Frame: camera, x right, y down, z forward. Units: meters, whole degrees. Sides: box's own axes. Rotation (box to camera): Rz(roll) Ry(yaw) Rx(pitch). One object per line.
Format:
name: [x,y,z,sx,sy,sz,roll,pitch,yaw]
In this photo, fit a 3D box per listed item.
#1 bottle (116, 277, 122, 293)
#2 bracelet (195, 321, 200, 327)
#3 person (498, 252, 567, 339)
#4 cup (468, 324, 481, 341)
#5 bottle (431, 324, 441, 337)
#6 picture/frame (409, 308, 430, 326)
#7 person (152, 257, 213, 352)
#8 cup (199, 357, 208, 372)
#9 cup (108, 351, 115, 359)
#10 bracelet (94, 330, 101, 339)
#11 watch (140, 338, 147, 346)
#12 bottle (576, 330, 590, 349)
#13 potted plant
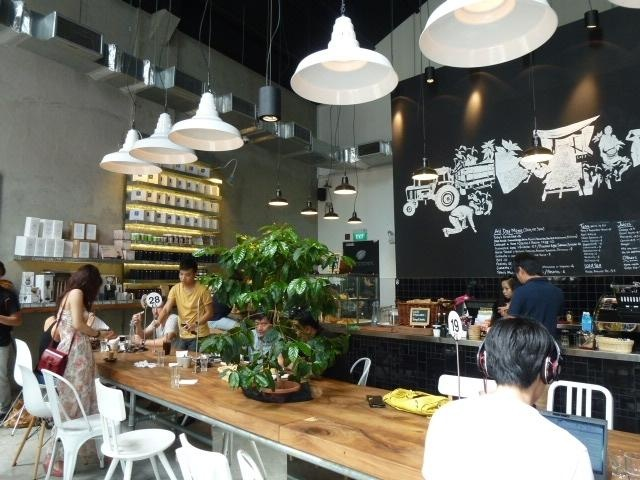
bottle: [-2.976,0.649,6.586,0.068,0.225,0.276,-9,8,-17]
bracelet: [-1.276,0.858,4.624,0.046,0.064,0.031,-5,-6,22]
person: [1.939,0.578,4.078,0.530,0.916,0.478,-9,12,-12]
cup: [1.669,0.997,4.798,0.133,0.128,0.137,-1,-3,0]
bottle: [1.293,0.998,4.906,0.105,0.120,0.104,-2,-11,18]
picture/frame: [1.187,0.894,5.228,0.196,0.206,0.102,-2,-10,26]
person: [-1.442,0.918,4.712,0.574,1.391,0.568,-1,1,-12]
cup: [-0.954,1.015,3.654,0.085,0.137,0.087,2,1,0]
cup: [-1.901,1.040,4.059,0.057,0.067,0.059,0,-4,0]
bracelet: [-1.982,0.836,3.960,0.042,0.056,0.137,2,-11,-25]
watch: [-1.889,1.097,4.804,0.046,0.066,0.073,5,-11,22]
bottle: [2.555,0.953,4.307,0.121,0.145,0.133,0,-12,3]
potted plant: [-0.203,0.426,3.128,1.121,1.340,1.023,0,-1,-32]
